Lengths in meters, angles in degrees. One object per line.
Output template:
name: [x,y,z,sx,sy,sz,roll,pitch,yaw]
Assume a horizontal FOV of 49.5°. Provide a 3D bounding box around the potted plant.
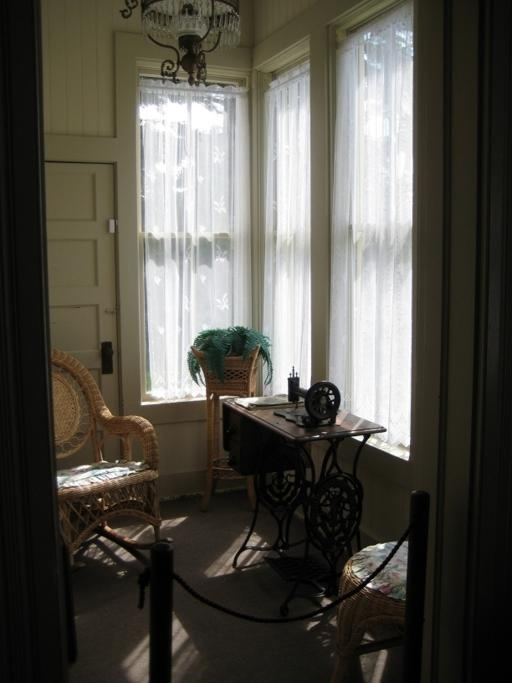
potted plant: [-0.167,0.130,3.551,0.349,0.310,0.373,2,-5,-7]
